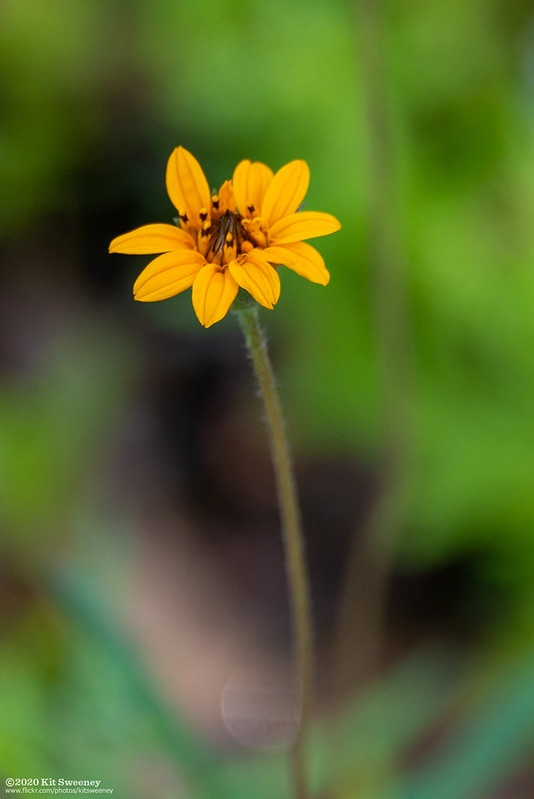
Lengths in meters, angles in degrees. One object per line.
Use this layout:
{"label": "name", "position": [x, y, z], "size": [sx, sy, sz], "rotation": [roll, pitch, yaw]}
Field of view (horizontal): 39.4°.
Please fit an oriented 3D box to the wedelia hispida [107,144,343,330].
{"label": "wedelia hispida", "position": [-0.033, -0.137, 0.646], "size": [0.173, 0.183, 0.081], "rotation": [22, -32, 19]}
